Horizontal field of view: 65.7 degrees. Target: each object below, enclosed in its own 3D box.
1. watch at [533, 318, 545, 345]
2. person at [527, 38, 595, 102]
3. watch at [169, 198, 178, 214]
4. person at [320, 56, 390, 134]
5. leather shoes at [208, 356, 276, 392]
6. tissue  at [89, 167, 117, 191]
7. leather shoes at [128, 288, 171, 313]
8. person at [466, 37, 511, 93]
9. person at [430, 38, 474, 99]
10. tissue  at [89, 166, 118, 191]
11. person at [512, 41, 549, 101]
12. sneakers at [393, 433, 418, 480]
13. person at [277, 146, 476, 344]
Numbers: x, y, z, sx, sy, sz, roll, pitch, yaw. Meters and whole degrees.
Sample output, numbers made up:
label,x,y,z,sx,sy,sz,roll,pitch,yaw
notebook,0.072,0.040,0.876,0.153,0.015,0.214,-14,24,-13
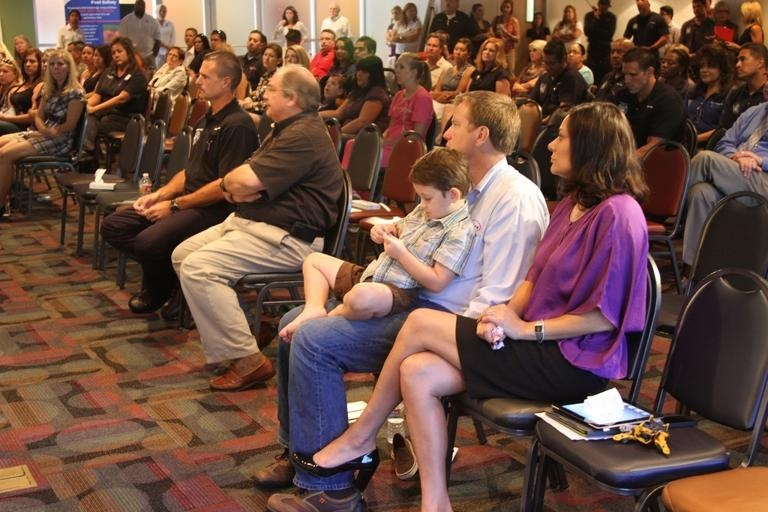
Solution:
label,x,y,z,sx,sy,sz,roll,pitch,yaw
watch,0.587,0.287,2.226,0.052,0.091,0.025,0,3,16
person,2.034,-2.035,6.728,0.530,0.725,0.846,-10,25,-14
watch,-1.442,-0.343,4.044,0.065,0.097,0.090,0,18,-17
person,-0.361,-1.815,6.988,0.945,1.073,0.783,-4,9,-30
leather shoes,-0.796,0.642,3.438,0.403,0.157,0.164,-16,23,-16
tissue ,-2.605,-0.692,5.451,0.261,0.173,0.263,-2,7,-21
leather shoes,-1.699,0.311,4.315,0.315,0.128,0.156,-2,17,-17
person,1.318,-2.333,7.229,0.474,0.679,0.791,-7,17,-25
person,0.922,-2.471,7.934,0.497,0.788,0.804,23,31,35
tissue ,-2.596,-0.687,5.456,0.260,0.176,0.265,3,13,-11
person,1.999,-2.498,7.951,0.463,0.759,0.513,-3,20,-16
sneakers,0.085,0.923,2.720,0.110,0.088,0.253,-13,15,4
person,0.008,-0.134,2.708,1.017,0.823,0.605,-6,24,-13
